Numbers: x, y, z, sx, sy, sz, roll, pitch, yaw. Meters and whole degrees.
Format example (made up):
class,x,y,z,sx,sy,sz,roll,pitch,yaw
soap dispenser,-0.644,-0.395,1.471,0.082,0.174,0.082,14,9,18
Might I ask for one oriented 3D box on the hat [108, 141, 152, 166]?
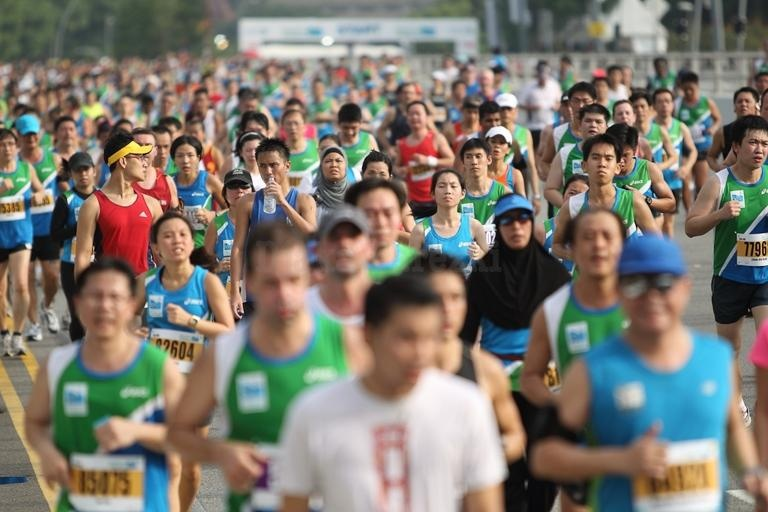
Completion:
class,x,y,z,sx,sy,sz,roll,pitch,yaw
hat,-2.142,-0.876,9.508,0.283,0.102,0.189,-28,3,-4

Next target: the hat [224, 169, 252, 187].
class,x,y,z,sx,sy,sz,roll,pitch,yaw
hat,-1.376,-0.761,10.734,0.229,0.192,0.402,-1,-16,0

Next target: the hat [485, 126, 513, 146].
class,x,y,z,sx,sy,sz,roll,pitch,yaw
hat,1.293,-1.353,12.645,0.279,0.186,0.468,-2,8,5

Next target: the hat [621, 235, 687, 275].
class,x,y,z,sx,sy,sz,roll,pitch,yaw
hat,1.323,0.001,5.575,0.337,0.178,0.240,-2,8,5

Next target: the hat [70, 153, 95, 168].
class,x,y,z,sx,sy,sz,roll,pitch,yaw
hat,-3.210,-1.017,11.981,0.288,0.168,0.433,-4,5,-17

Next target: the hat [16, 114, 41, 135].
class,x,y,z,sx,sy,sz,roll,pitch,yaw
hat,-4.359,-1.610,13.821,0.244,0.207,0.363,-2,8,-24

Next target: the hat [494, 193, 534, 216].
class,x,y,z,sx,sy,sz,roll,pitch,yaw
hat,0.895,-0.356,7.845,0.217,0.165,0.313,-7,-14,6

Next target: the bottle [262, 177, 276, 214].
class,x,y,z,sx,sy,sz,roll,pitch,yaw
bottle,-0.949,-0.477,9.400,0.120,0.250,0.074,-2,6,3
